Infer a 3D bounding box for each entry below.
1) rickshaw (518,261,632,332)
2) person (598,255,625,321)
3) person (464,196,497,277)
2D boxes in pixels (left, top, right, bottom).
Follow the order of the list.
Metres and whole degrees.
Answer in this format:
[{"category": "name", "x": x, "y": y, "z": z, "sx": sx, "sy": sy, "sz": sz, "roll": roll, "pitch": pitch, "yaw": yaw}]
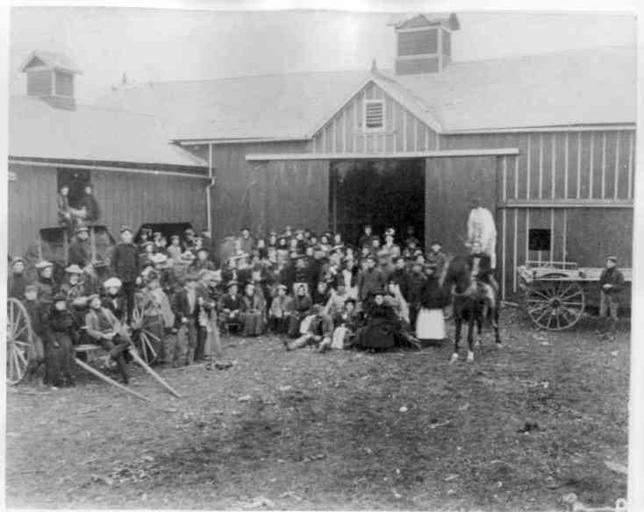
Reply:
[{"category": "rickshaw", "x": 2.931, "y": 0.432, "z": 10.678, "sx": 1.251, "sy": 0.606, "sz": 0.670, "roll": -2, "pitch": 0, "yaw": 9}, {"category": "person", "x": 3.323, "y": 0.373, "z": 10.441, "sx": 0.265, "sy": 0.750, "sz": 0.108, "roll": 1, "pitch": 2, "yaw": 10}, {"category": "person", "x": 1.849, "y": -0.242, "z": 10.519, "sx": 0.321, "sy": 0.794, "sz": 0.277, "roll": 6, "pitch": 8, "yaw": 35}]
